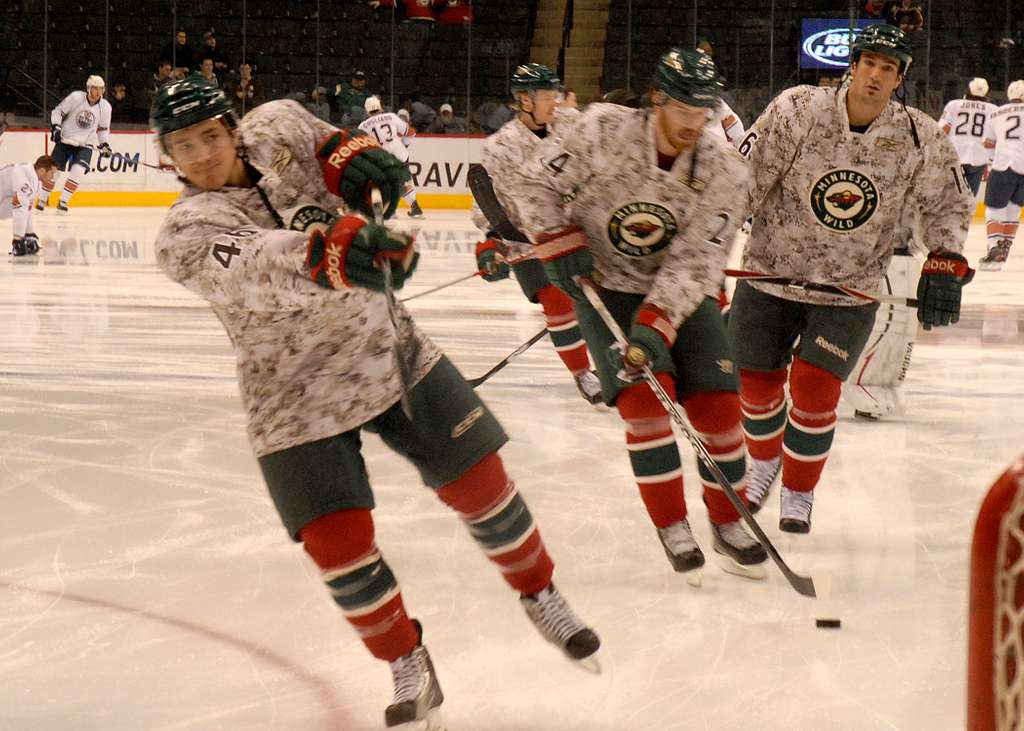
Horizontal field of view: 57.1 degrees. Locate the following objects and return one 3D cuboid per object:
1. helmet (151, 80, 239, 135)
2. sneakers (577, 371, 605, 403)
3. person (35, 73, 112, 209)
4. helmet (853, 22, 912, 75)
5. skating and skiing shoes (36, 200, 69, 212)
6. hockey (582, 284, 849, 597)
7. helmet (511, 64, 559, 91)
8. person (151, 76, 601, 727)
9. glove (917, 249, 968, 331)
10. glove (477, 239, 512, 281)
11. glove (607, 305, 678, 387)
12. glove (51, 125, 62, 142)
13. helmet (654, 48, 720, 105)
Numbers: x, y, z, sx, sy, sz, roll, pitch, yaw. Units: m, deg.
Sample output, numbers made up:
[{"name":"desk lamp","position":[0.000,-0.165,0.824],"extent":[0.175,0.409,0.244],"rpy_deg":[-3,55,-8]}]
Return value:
[{"name":"helmet","position":[-0.630,-0.515,1.873],"extent":[0.159,0.113,0.127],"rpy_deg":[-5,18,-14]},{"name":"sneakers","position":[0.362,0.086,4.258],"extent":[0.071,0.076,0.184],"rpy_deg":[-13,49,-5]},{"name":"person","position":[-5.536,-2.834,12.200],"extent":[0.841,1.674,0.506],"rpy_deg":[-15,23,-37]},{"name":"helmet","position":[1.079,-0.924,2.748],"extent":[0.160,0.140,0.249],"rpy_deg":[5,18,19]},{"name":"skating and skiing shoes","position":[-5.875,-2.083,12.134],"extent":[0.289,0.093,0.221],"rpy_deg":[2,-13,-26]},{"name":"hockey","position":[0.612,0.216,2.745],"extent":[0.117,0.971,0.149],"rpy_deg":[-32,-4,12]},{"name":"helmet","position":[0.096,-1.244,4.104],"extent":[0.232,0.091,0.129],"rpy_deg":[-3,20,-7]},{"name":"person","position":[-0.305,0.085,1.995],"extent":[0.737,1.334,0.480],"rpy_deg":[10,22,30]},{"name":"glove","position":[1.292,-0.221,2.809],"extent":[0.186,0.199,0.077],"rpy_deg":[9,9,3]},{"name":"glove","position":[-0.088,-0.501,4.540],"extent":[0.158,0.193,0.094],"rpy_deg":[-17,12,-36]},{"name":"glove","position":[0.354,-0.053,2.450],"extent":[0.156,0.196,0.093],"rpy_deg":[37,7,2]},{"name":"glove","position":[-5.729,-2.917,11.927],"extent":[0.098,0.196,0.077],"rpy_deg":[3,19,12]},{"name":"helmet","position":[0.435,-0.711,2.406],"extent":[0.143,0.095,0.174],"rpy_deg":[20,24,-20]}]
